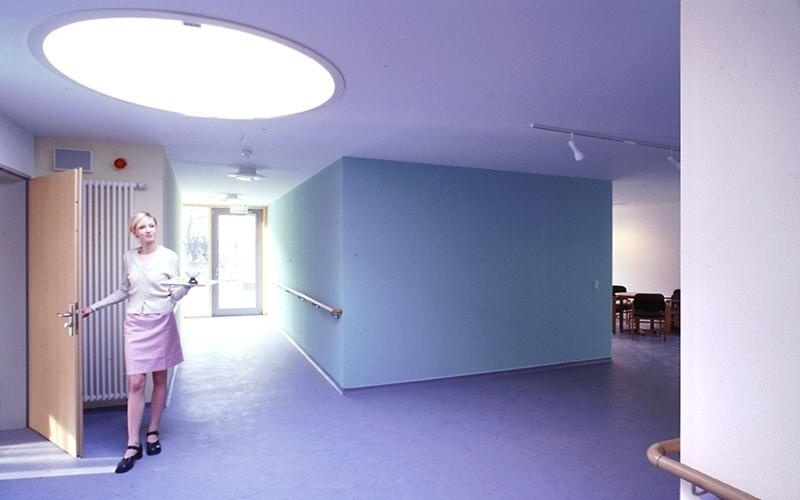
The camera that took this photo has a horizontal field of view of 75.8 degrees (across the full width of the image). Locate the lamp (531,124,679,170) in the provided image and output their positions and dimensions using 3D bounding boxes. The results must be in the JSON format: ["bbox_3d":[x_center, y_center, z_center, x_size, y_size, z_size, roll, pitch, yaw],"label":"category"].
[{"bbox_3d":[2.439,-1.319,6.279,2.190,0.315,0.805,-1,8,-11],"label":"lamp"}]

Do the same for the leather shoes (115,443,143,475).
[{"bbox_3d":[-2.745,2.090,5.227,0.177,0.185,0.382,-1,8,-8],"label":"leather shoes"}]

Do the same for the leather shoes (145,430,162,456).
[{"bbox_3d":[-2.604,2.050,5.429,0.103,0.124,0.321,2,-5,-23],"label":"leather shoes"}]

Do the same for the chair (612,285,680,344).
[{"bbox_3d":[5.421,1.403,11.463,1.335,1.144,1.729,4,8,23],"label":"chair"}]

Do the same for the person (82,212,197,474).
[{"bbox_3d":[-2.639,0.884,5.400,0.792,2.533,0.805,-4,10,-30],"label":"person"}]

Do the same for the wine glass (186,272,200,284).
[{"bbox_3d":[-2.085,0.284,5.198,0.108,0.081,0.107,1,-7,-8],"label":"wine glass"}]
